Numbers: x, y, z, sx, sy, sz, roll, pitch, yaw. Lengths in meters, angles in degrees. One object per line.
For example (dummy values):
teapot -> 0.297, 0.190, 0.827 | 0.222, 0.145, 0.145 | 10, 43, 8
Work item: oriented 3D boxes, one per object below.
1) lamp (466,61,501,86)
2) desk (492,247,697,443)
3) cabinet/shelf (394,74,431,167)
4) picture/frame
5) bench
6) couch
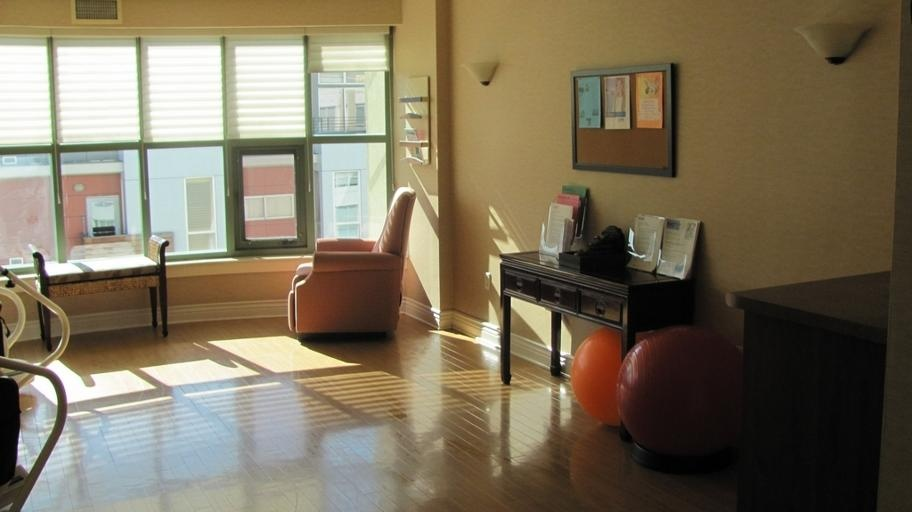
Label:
lamp -> 0.272, -1.727, 6.462 | 0.234, 0.142, 0.219 | -7, 9, -36
desk -> 1.071, 0.650, 5.667 | 0.715, 1.117, 1.649 | -4, 9, -30
cabinet/shelf -> -0.457, -1.463, 7.319 | 0.198, 0.930, 0.608 | -8, 12, -27
picture/frame -> 1.348, -1.084, 5.378 | 0.091, 0.863, 1.105 | -7, 8, -43
bench -> -3.720, 0.378, 7.110 | 1.211, 0.880, 0.864 | -7, 6, -33
couch -> -0.898, 0.107, 7.298 | 1.640, 1.354, 1.457 | -2, 0, -2
